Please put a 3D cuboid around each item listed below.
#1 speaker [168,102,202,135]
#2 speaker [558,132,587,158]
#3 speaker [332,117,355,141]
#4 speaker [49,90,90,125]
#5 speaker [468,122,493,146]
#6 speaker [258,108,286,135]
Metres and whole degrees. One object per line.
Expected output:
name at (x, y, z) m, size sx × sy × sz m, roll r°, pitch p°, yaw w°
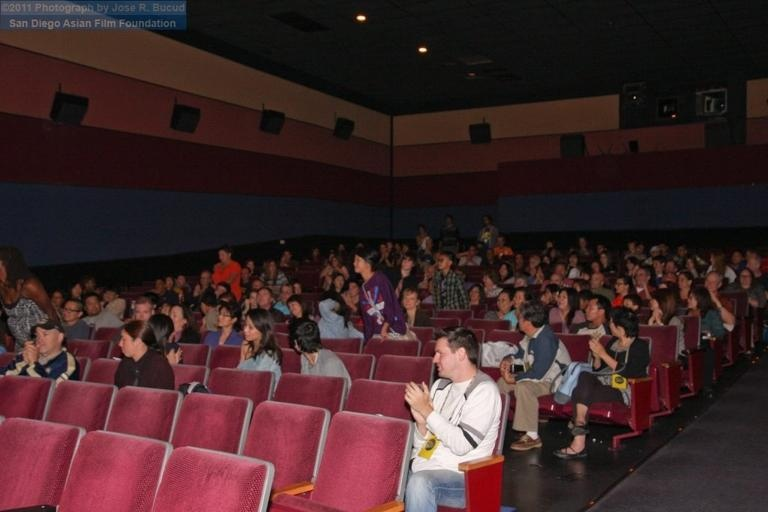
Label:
speaker at (-4.600, -3.171, 12.747) m, size 0.620 × 0.605 × 0.607 m, roll 9°, pitch 15°, yaw -39°
speaker at (5.246, -3.054, 15.252) m, size 0.741 × 0.736 × 0.738 m, roll -3°, pitch -3°, yaw 25°
speaker at (-1.237, -3.875, 16.655) m, size 0.629 × 0.629 × 0.390 m, roll -2°, pitch 14°, yaw -5°
speaker at (-6.228, -2.904, 10.772) m, size 0.360 × 0.626 × 0.615 m, roll 9°, pitch 16°, yaw 33°
speaker at (3.046, -3.858, 17.150) m, size 0.700 × 0.673 × 0.498 m, roll 1°, pitch 14°, yaw 7°
speaker at (-3.066, -3.618, 14.817) m, size 0.704 × 0.654 × 0.441 m, roll -8°, pitch 15°, yaw -29°
